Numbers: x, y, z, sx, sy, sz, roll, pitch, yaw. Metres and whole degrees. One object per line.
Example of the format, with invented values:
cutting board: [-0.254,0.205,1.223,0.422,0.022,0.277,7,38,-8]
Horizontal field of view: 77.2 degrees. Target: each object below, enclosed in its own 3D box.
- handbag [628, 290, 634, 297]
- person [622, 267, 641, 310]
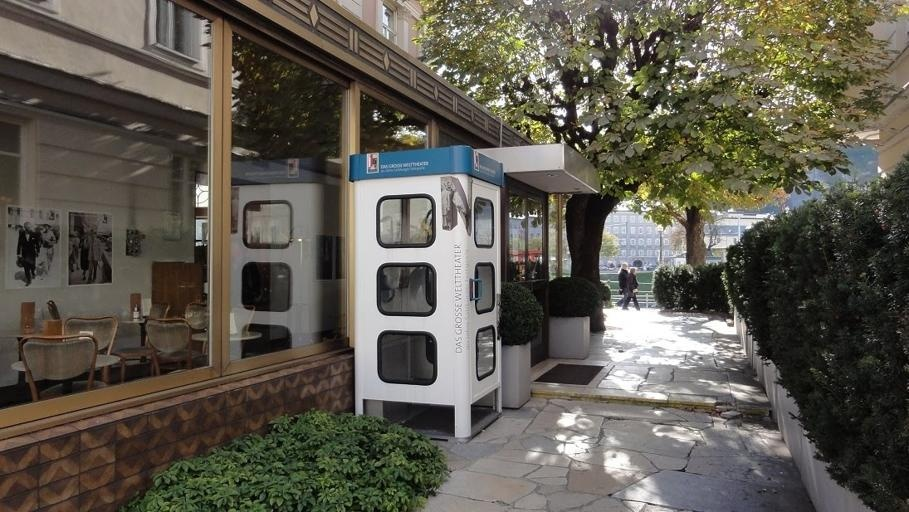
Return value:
handbag: [7.031,1.518,22.720,0.203,0.358,0.200,-4,-10,24]
person: [7.101,1.313,23.152,0.572,1.711,1.425,1,6,16]
